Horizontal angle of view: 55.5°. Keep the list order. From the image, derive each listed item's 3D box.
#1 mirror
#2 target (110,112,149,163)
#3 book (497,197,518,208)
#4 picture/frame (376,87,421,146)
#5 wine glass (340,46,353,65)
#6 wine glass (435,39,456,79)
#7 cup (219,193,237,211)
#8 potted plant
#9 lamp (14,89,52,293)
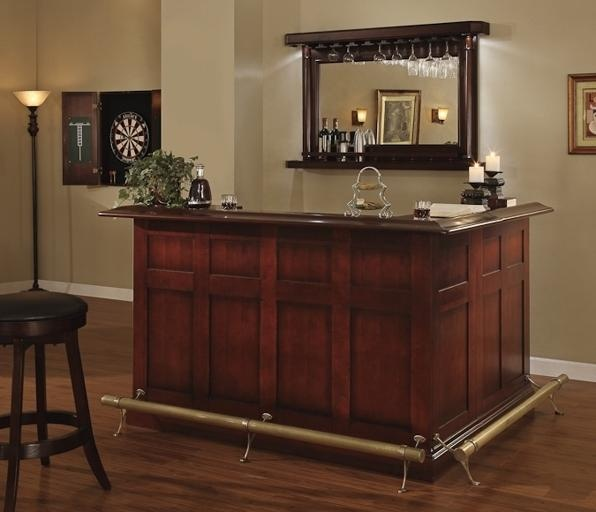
[{"bbox_3d":[0.769,-1.345,4.836,1.627,1.231,0.191,3,4,27],"label":"mirror"},{"bbox_3d":[-1.944,-1.364,6.536,0.457,0.623,0.077,7,15,24],"label":"target"},{"bbox_3d":[1.332,-0.340,3.610,0.102,0.068,0.105,7,10,44],"label":"book"},{"bbox_3d":[0.863,-1.198,4.811,0.451,0.658,0.054,2,5,19],"label":"picture/frame"},{"bbox_3d":[0.438,-1.749,4.973,0.079,0.144,0.038,4,11,31],"label":"wine glass"},{"bbox_3d":[1.215,-1.616,4.665,0.181,0.274,0.175,-12,17,-36],"label":"wine glass"},{"bbox_3d":[-0.410,-0.318,3.323,0.087,0.090,0.086,3,2,0],"label":"cup"},{"bbox_3d":[-0.849,-0.461,3.392,0.477,0.344,0.275,4,5,36],"label":"potted plant"},{"bbox_3d":[-3.205,-0.795,6.903,0.477,2.421,0.456,0,3,-4],"label":"lamp"}]
